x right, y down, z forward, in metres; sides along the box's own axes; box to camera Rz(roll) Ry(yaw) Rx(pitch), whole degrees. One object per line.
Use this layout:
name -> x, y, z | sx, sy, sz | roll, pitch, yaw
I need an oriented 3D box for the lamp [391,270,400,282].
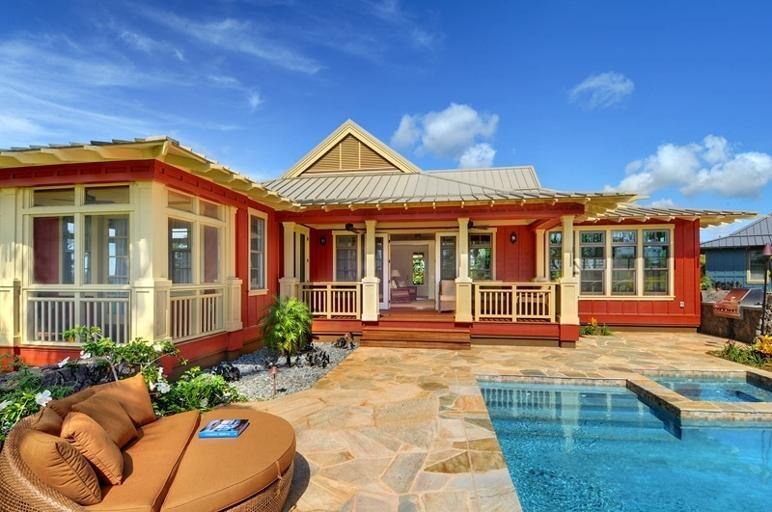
lamp -> 0.382, 0.827, 22.263 | 0.514, 0.513, 0.486 | -2, 1, 26
